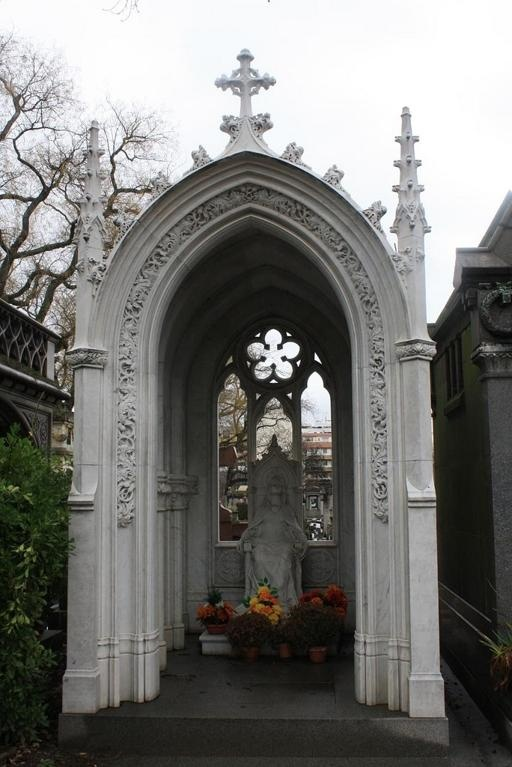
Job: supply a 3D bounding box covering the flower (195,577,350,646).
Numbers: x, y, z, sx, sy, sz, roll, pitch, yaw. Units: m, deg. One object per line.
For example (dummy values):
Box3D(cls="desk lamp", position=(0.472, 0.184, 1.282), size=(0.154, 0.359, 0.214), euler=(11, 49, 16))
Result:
Box3D(cls="flower", position=(0.174, 2.326, 7.707), size=(0.896, 0.421, 0.806), euler=(-3, -12, 27))
